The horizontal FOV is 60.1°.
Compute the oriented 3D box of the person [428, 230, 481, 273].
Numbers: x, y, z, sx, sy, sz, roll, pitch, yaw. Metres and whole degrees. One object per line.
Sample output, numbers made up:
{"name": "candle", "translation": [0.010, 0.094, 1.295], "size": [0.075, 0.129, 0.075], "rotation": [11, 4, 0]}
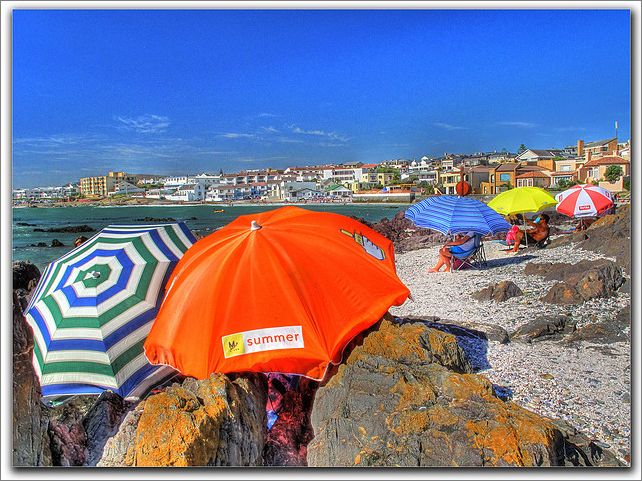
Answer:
{"name": "person", "translation": [3.510, 0.300, 14.332], "size": [1.277, 0.698, 1.574], "rotation": [-7, -12, 39]}

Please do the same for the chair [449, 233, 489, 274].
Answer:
{"name": "chair", "translation": [3.879, 0.338, 14.531], "size": [1.023, 1.418, 0.892], "rotation": [1, -4, -11]}

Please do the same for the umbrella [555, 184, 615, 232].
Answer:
{"name": "umbrella", "translation": [8.057, -1.017, 16.940], "size": [1.359, 1.248, 1.427], "rotation": [-9, 36, 16]}

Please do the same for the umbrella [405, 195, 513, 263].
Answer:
{"name": "umbrella", "translation": [3.195, -0.172, 13.294], "size": [1.625, 1.099, 1.674], "rotation": [2, 21, 2]}
